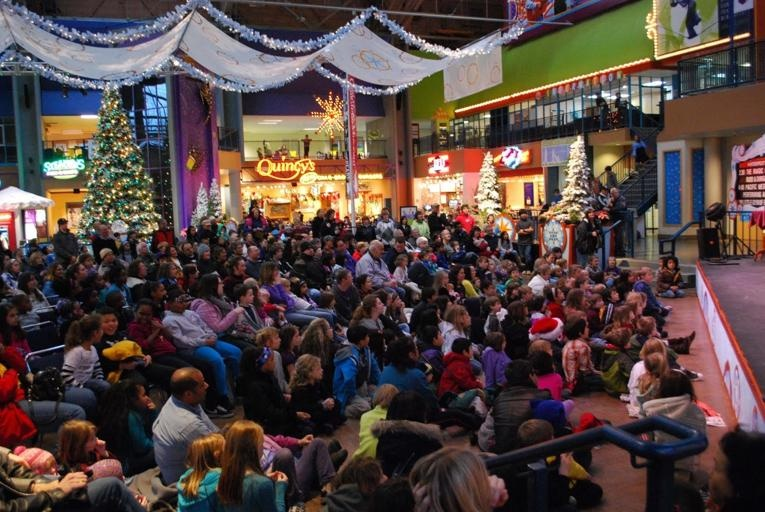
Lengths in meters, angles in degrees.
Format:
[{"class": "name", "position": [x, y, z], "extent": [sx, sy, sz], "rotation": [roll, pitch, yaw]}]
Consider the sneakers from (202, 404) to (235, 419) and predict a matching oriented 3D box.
[{"class": "sneakers", "position": [-2.193, 2.081, 8.864], "extent": [0.411, 0.175, 0.156], "rotation": [0, 0, -6]}]

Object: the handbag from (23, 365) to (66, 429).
[{"class": "handbag", "position": [-3.829, 1.594, 7.464], "extent": [0.363, 0.670, 0.248], "rotation": [3, -17, -24]}]

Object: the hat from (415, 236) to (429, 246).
[{"class": "hat", "position": [0.877, -0.289, 14.666], "extent": [0.219, 0.244, 0.193], "rotation": [27, 23, -2]}]

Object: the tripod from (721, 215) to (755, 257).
[{"class": "tripod", "position": [9.499, -0.537, 17.657], "extent": [0.793, 1.102, 1.034], "rotation": [-8, 9, -43]}]
